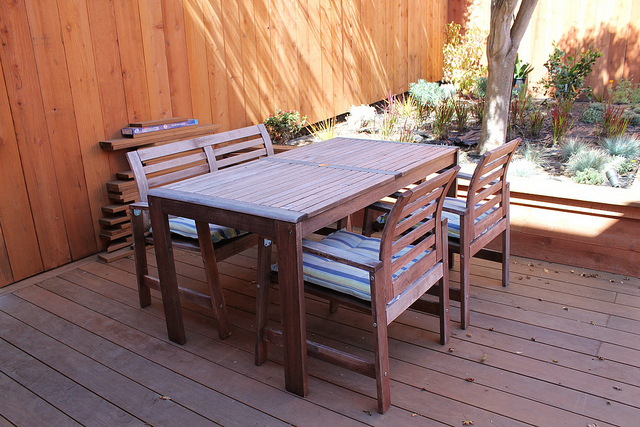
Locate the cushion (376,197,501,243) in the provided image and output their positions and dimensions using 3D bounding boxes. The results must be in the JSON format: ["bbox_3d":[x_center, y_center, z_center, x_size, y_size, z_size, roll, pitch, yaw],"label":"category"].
[{"bbox_3d":[1.037,0.000,3.466,0.487,0.116,0.462,10,23,36],"label":"cushion"}]

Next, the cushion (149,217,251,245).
[{"bbox_3d":[-0.823,0.024,3.468,0.522,0.200,0.625,8,15,23],"label":"cushion"}]

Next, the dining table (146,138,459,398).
[{"bbox_3d":[0.095,0.132,3.776,1.305,1.047,2.414,10,20,33],"label":"dining table"}]

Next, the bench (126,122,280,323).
[{"bbox_3d":[-0.659,-0.067,4.009,0.757,1.170,1.789,9,21,23],"label":"bench"}]

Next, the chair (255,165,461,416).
[{"bbox_3d":[0.249,0.373,3.165,1.193,1.269,1.137,-15,20,-41],"label":"chair"}]
